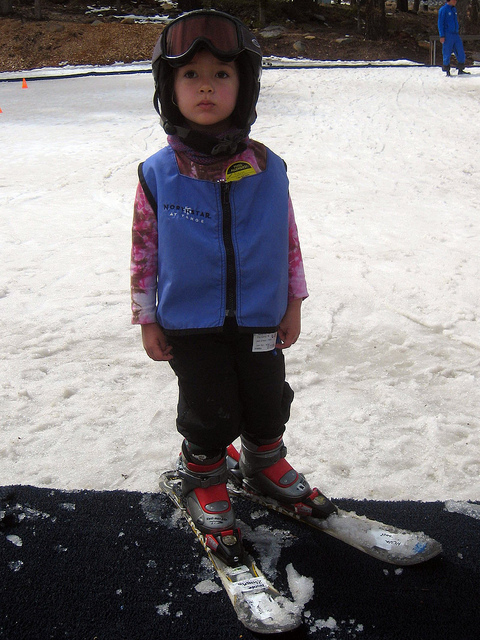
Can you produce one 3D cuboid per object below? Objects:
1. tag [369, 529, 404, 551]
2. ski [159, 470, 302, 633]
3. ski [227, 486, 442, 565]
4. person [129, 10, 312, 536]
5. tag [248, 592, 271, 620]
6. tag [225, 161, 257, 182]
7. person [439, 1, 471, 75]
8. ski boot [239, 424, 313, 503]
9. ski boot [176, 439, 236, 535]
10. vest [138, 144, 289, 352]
[{"bbox_3d":[0.454,0.681,1.854,0.081,0.027,0.072,-6,14,-5],"label":"tag"},{"bbox_3d":[-0.044,0.692,1.826,0.180,0.145,0.668,-11,16,-21],"label":"ski"},{"bbox_3d":[0.266,0.639,2.003,0.830,0.080,0.138,10,25,37],"label":"ski"},{"bbox_3d":[-0.038,-0.113,1.761,0.540,1.489,0.285,-11,17,-14],"label":"person"},{"bbox_3d":[0.051,0.773,1.604,0.036,0.012,0.057,1,14,-10],"label":"tag"},{"bbox_3d":[0.000,-0.417,1.668,0.093,0.054,0.020,-14,18,-30],"label":"tag"},{"bbox_3d":[4.272,-5.588,11.847,0.539,1.346,1.278,0,16,20],"label":"person"},{"bbox_3d":[0.110,0.474,1.998,0.297,0.265,0.134,19,26,36],"label":"ski boot"},{"bbox_3d":[-0.146,0.526,1.922,0.139,0.210,0.333,-11,15,-16],"label":"ski boot"},{"bbox_3d":[-0.046,-0.253,1.800,0.500,0.555,0.345,-7,14,-26],"label":"vest"}]
